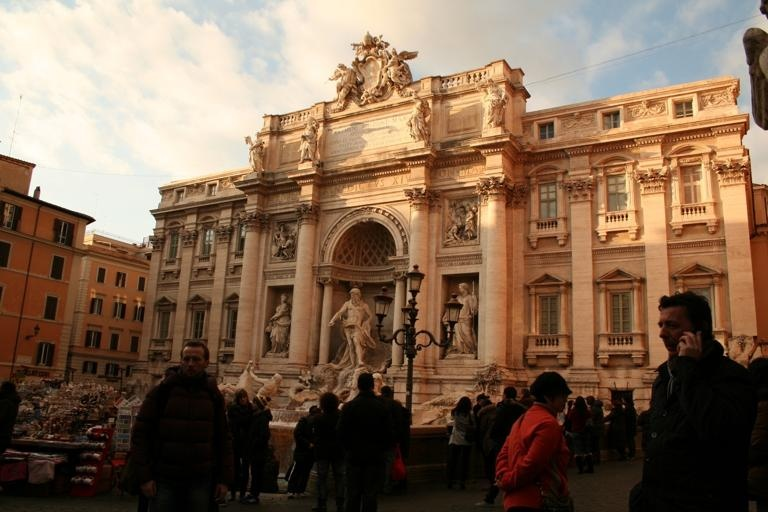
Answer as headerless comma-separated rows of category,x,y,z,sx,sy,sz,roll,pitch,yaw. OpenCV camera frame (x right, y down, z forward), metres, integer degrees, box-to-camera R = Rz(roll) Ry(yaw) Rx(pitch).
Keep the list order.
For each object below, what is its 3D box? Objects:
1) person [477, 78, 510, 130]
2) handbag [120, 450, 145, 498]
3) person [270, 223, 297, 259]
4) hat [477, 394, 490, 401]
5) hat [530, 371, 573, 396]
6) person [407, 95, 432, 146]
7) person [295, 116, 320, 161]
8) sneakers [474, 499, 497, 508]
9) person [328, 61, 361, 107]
person,4.992,-6.961,29.039,1.066,2.839,0.832,-6,-19,21
handbag,-3.209,2.850,8.221,0.292,0.542,0.240,-23,-20,26
person,-5.452,-0.769,34.562,1.574,2.133,0.359,-12,-22,36
hat,2.301,3.338,15.082,0.209,0.111,0.264,5,-15,-26
hat,2.040,1.563,7.746,0.447,0.203,0.311,-3,1,-29
person,1.695,-6.462,30.526,1.050,2.699,0.661,0,-18,4
person,-4.037,-6.153,33.812,1.181,2.728,0.907,-4,-18,14
sneakers,2.050,4.973,12.850,0.487,0.178,0.166,2,-14,9
person,-2.005,-9.013,33.884,1.457,2.472,0.716,-1,-18,5
